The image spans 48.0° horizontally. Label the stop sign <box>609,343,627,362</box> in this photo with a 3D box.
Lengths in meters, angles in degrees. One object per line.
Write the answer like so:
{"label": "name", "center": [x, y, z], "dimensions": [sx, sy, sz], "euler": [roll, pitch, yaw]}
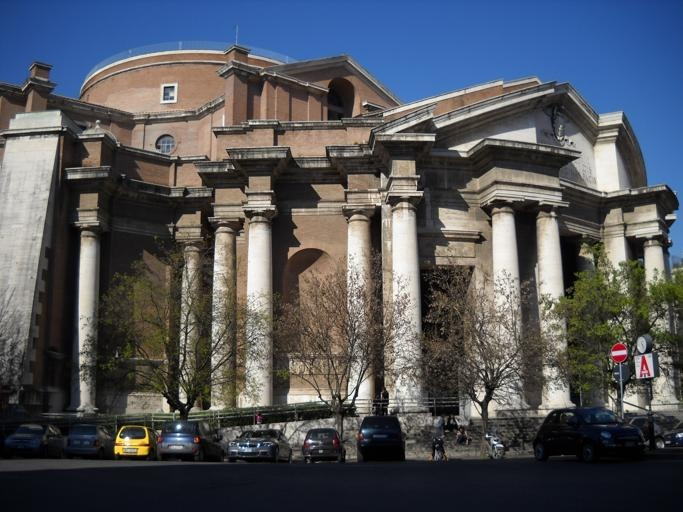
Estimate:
{"label": "stop sign", "center": [9.782, 3.424, 27.034], "dimensions": [0.451, 0.771, 1.677], "euler": [-4, -14, 18]}

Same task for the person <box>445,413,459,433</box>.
{"label": "person", "center": [5.172, 7.967, 36.331], "dimensions": [0.567, 0.751, 0.765], "euler": [0, -13, 0]}

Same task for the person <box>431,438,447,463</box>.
{"label": "person", "center": [3.961, 7.937, 31.394], "dimensions": [0.560, 0.652, 1.039], "euler": [0, -5, 4]}

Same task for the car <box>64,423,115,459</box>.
{"label": "car", "center": [-10.507, 7.757, 31.979], "dimensions": [1.878, 1.406, 1.390], "euler": [9, -16, -34]}

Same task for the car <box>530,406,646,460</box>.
{"label": "car", "center": [8.134, 5.938, 25.489], "dimensions": [1.459, 1.747, 3.463], "euler": [7, -15, -27]}

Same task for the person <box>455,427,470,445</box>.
{"label": "person", "center": [5.507, 8.353, 35.368], "dimensions": [0.439, 0.978, 0.590], "euler": [-5, -54, 6]}

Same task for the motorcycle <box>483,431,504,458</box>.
{"label": "motorcycle", "center": [6.635, 8.272, 33.570], "dimensions": [0.729, 0.970, 1.717], "euler": [3, -3, 2]}

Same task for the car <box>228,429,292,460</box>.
{"label": "car", "center": [-3.246, 7.741, 31.210], "dimensions": [1.751, 1.325, 2.508], "euler": [-7, -15, 27]}

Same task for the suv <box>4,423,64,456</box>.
{"label": "suv", "center": [-12.702, 7.533, 31.638], "dimensions": [1.381, 1.096, 2.404], "euler": [-1, -26, -1]}

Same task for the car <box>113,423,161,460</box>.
{"label": "car", "center": [-8.537, 7.693, 31.593], "dimensions": [1.538, 1.333, 1.376], "euler": [1, -13, -7]}

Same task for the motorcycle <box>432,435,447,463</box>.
{"label": "motorcycle", "center": [3.972, 8.026, 31.546], "dimensions": [0.655, 0.802, 1.292], "euler": [1, -24, 5]}
